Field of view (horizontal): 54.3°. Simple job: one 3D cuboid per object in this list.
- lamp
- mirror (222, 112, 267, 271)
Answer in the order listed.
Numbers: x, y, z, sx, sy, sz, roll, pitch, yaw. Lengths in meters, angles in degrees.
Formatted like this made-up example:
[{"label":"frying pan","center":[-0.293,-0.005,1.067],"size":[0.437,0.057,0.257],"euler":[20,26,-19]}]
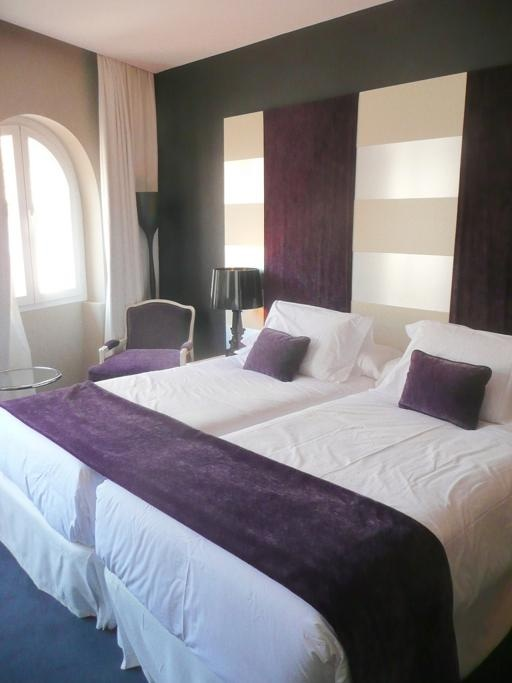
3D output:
[{"label":"lamp","center":[-0.106,-0.248,3.989],"size":[0.399,1.008,0.515],"euler":[1,11,6]},{"label":"mirror","center":[-0.101,-1.144,3.860],"size":[0.437,1.138,0.046],"euler":[8,12,43]}]
